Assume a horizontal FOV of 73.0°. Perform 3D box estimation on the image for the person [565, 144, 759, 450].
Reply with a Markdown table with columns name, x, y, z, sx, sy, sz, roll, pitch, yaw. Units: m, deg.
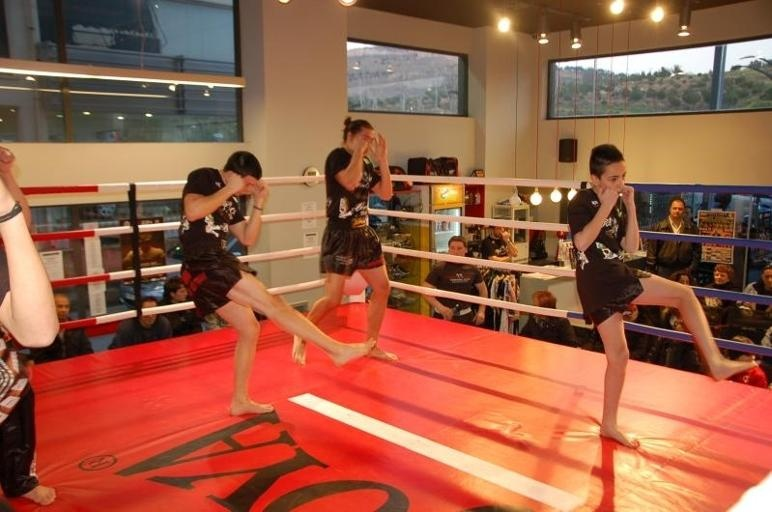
| name | x | y | z | sx | sy | sz | roll | pitch | yaw |
| --- | --- | --- | --- | --- | --- | --- | --- | --- | --- |
| person | 1.467 | 0.194 | 2.990 | 0.848 | 1.609 | 0.701 | 3 | 15 | 16 |

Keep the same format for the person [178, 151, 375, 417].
| name | x | y | z | sx | sy | sz | roll | pitch | yaw |
| --- | --- | --- | --- | --- | --- | --- | --- | --- | --- |
| person | -0.831 | 0.184 | 3.132 | 0.636 | 1.557 | 0.785 | -11 | 18 | -32 |

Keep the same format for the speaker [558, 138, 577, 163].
| name | x | y | z | sx | sy | sz | roll | pitch | yaw |
| --- | --- | --- | --- | --- | --- | --- | --- | --- | --- |
| speaker | 3.580 | -2.076 | 10.351 | 0.440 | 0.479 | 0.437 | 3 | 3 | 13 |
